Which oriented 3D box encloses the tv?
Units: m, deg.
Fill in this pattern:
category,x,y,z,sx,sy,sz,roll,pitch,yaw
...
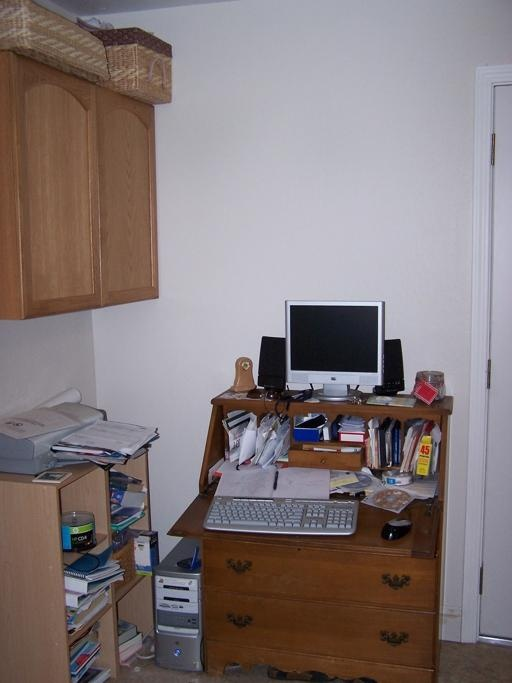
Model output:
category,x,y,z,sx,sy,sz,roll,pitch,yaw
tv,0.291,0.029,2.176,0.371,0.339,0.133,1,6,15
